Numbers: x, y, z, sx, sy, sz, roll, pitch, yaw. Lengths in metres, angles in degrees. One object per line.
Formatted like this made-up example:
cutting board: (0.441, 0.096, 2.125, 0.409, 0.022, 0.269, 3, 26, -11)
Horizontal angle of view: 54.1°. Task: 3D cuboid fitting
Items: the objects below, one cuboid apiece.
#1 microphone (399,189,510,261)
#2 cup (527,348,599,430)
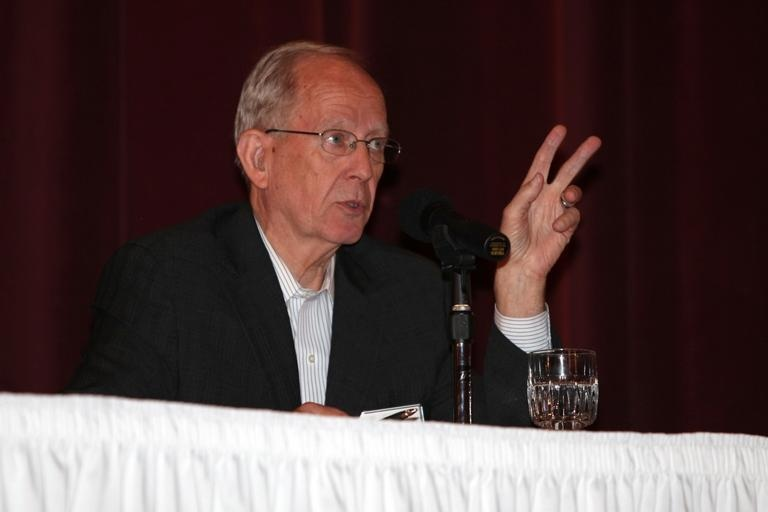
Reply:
microphone: (0.228, -0.108, 2.526, 0.126, 0.307, 0.460, 8, -15, -35)
cup: (0.588, 0.435, 2.556, 0.232, 0.290, 0.241, 0, -6, 0)
